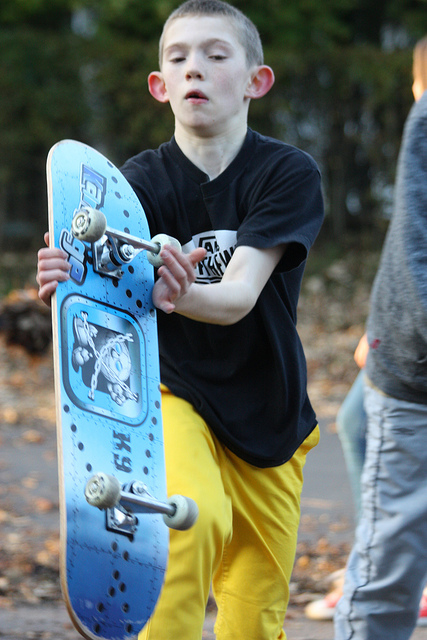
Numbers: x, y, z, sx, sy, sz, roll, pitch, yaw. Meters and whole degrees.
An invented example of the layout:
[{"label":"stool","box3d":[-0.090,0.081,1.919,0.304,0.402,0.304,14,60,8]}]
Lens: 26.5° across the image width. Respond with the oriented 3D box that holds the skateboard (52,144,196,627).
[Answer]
[{"label":"skateboard","box3d":[-0.249,0.107,2.154,0.344,1.158,0.182,2,-23,-45]}]
